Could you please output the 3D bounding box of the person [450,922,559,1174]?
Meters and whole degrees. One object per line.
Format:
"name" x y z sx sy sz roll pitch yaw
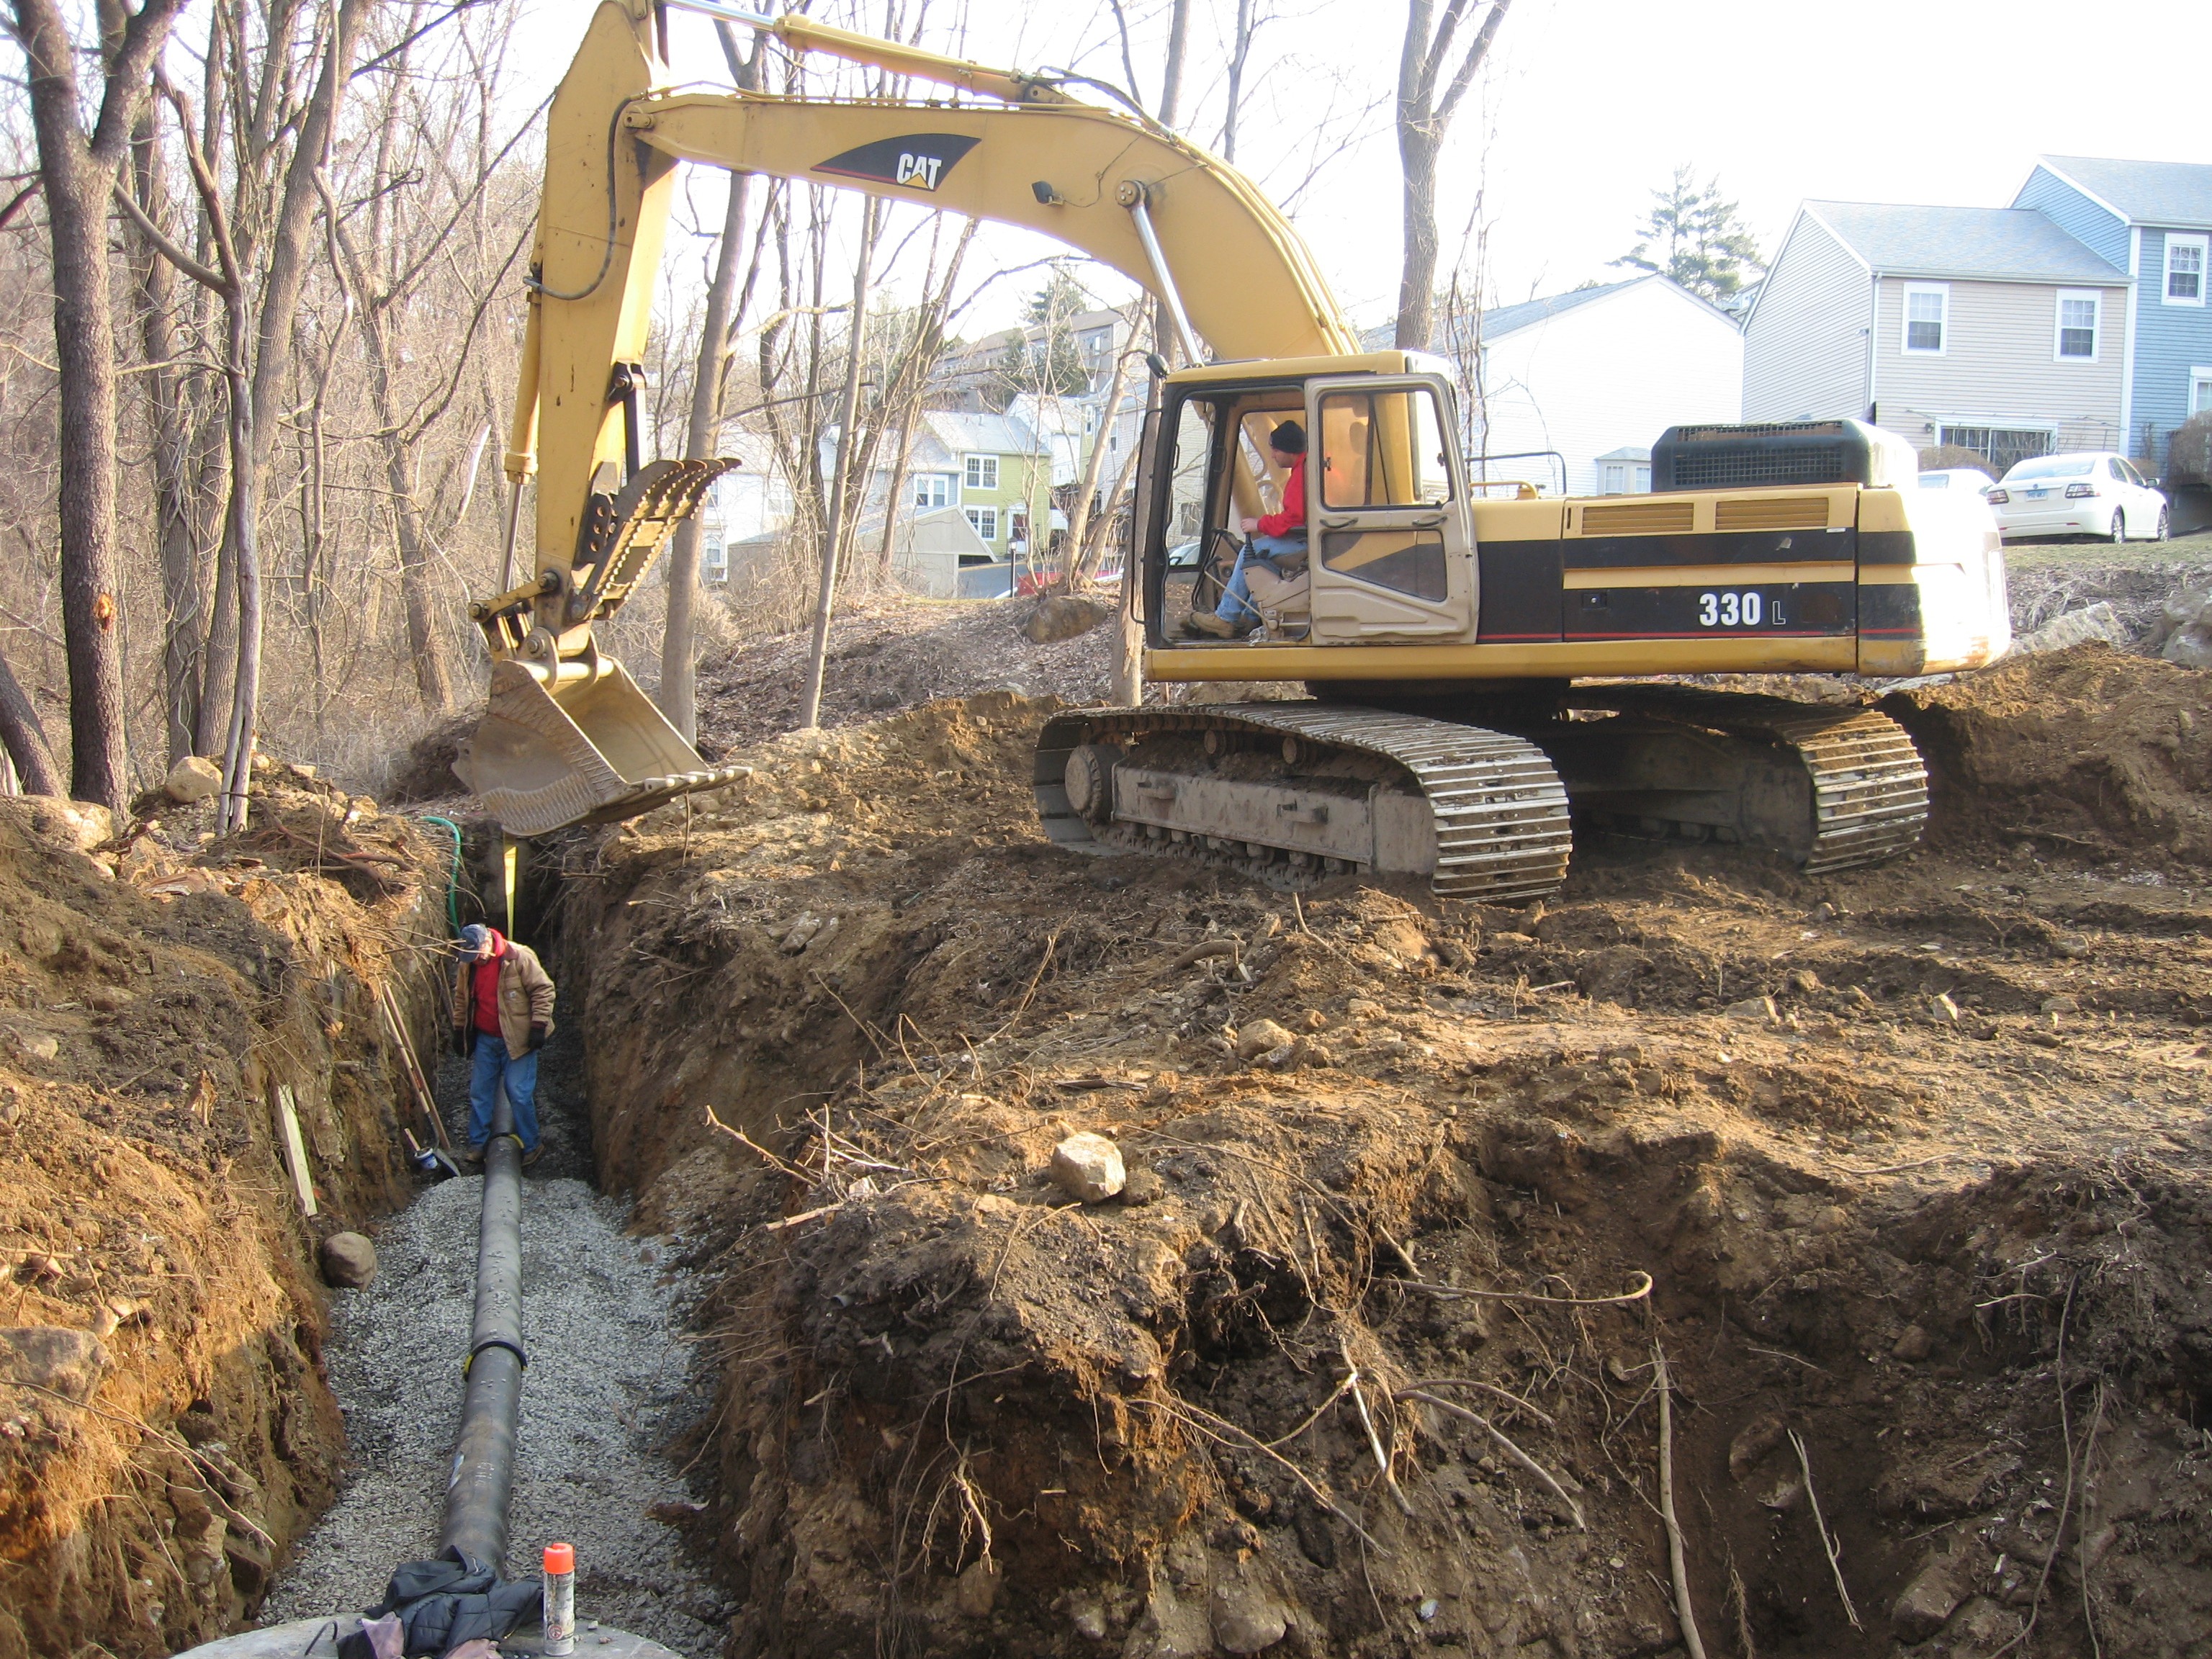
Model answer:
"person" -3.806 1.355 11.172 0.565 1.464 0.508 1 2 -5

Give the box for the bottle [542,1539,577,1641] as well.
"bottle" -1.896 2.655 6.124 0.085 0.364 0.096 1 2 -7

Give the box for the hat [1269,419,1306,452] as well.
"hat" 1.154 -2.465 10.997 0.180 0.182 0.202 -5 10 4

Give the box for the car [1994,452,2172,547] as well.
"car" 14.010 -4.798 25.389 2.128 1.410 1.395 1 1 8

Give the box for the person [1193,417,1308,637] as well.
"person" 0.992 -1.902 11.028 0.327 1.357 0.890 0 2 -34
